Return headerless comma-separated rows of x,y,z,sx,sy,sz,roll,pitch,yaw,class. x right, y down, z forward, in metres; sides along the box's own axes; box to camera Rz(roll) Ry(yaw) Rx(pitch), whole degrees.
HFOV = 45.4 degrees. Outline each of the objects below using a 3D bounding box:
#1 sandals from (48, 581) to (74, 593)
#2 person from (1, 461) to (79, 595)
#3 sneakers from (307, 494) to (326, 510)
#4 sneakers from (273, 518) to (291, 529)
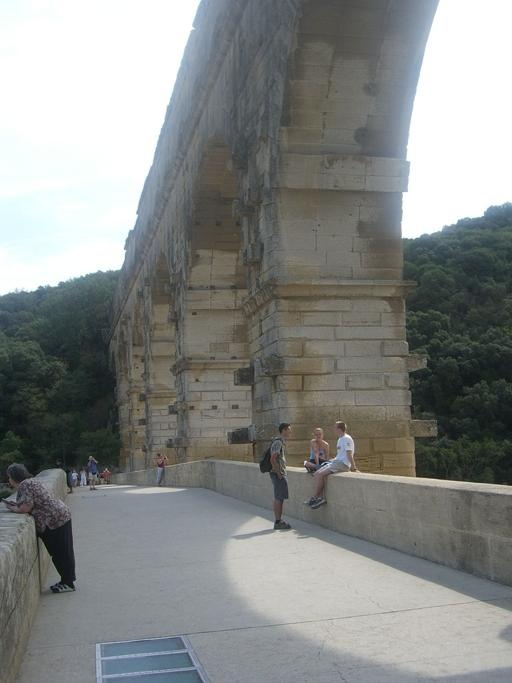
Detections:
-1.361,1.728,4.298,0.108,0.043,0.082,9,-5,-17,sandals
-1.498,1.304,4.233,0.406,0.963,0.608,-8,-5,-19,person
0.654,1.684,6.420,0.128,0.069,0.181,-8,-5,39,sneakers
0.286,1.963,6.562,0.217,0.135,0.075,-3,5,-14,sneakers
